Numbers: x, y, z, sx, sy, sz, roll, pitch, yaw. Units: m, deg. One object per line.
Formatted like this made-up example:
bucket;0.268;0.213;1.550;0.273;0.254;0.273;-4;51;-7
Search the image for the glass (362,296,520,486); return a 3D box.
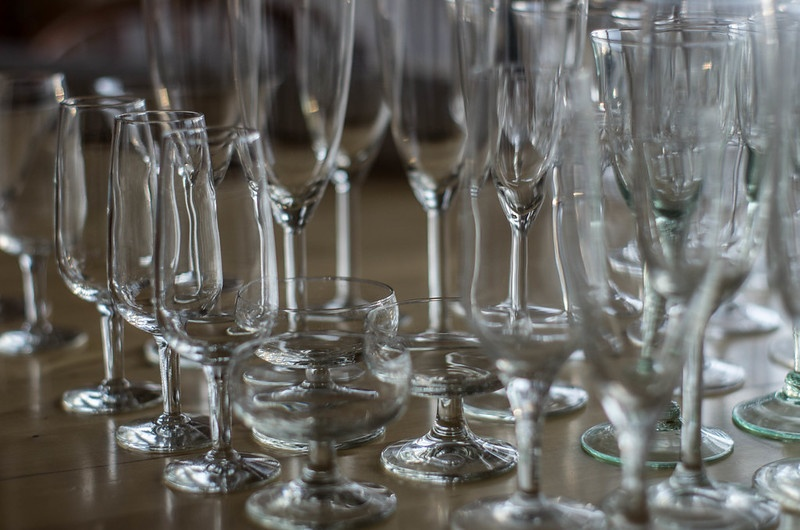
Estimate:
glass;0.045;0.096;0.834;0.137;0.155;0.136;6;12;42
